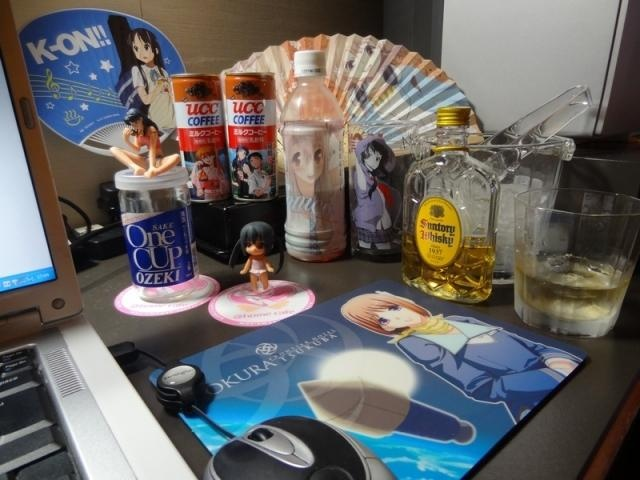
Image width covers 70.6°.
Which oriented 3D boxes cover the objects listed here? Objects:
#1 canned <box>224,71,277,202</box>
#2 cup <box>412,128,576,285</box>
[{"bbox_3d":[-0.124,-0.185,0.833,0.095,0.228,0.039,-6,20,-7],"label":"canned"},{"bbox_3d":[0.332,-0.054,0.816,0.236,0.222,0.200,7,11,36],"label":"cup"}]
